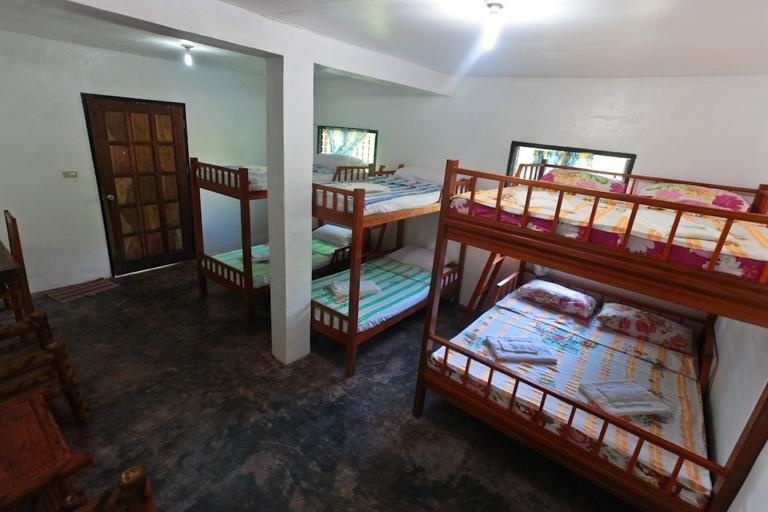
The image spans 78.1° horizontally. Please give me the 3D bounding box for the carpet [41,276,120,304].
[{"bbox_3d":[-4.622,0.516,7.247,0.508,0.103,0.886,21,24,40],"label":"carpet"}]

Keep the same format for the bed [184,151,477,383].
[{"bbox_3d":[-0.510,0.179,7.674,3.275,2.653,3.780,19,26,38],"label":"bed"}]
